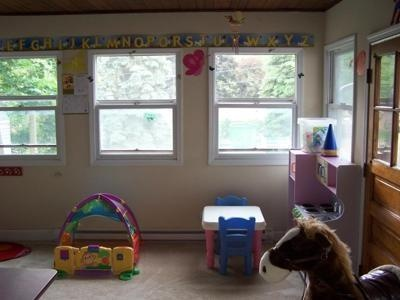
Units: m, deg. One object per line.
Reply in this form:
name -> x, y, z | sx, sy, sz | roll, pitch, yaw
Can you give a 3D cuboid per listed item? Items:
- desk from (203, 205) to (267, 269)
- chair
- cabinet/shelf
desk -> 0.328, 0.839, 3.447 | 0.597, 0.439, 0.596 | 0, 3, 0
chair -> 0.341, 0.788, 3.461 | 0.570, 0.773, 0.655 | 0, 5, 4
cabinet/shelf -> 1.161, 0.485, 3.127 | 0.475, 0.891, 0.867 | 0, 13, 4
